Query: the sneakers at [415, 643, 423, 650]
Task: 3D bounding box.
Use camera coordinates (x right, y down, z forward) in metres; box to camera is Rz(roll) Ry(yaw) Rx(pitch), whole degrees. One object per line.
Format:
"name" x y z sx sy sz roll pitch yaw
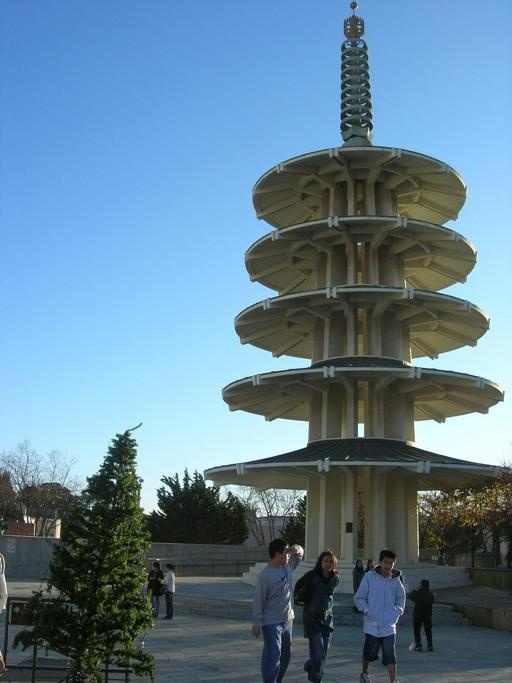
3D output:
"sneakers" 3.009 5.616 16.918 0.158 0.162 0.404 2 -17 5

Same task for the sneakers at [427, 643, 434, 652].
"sneakers" 3.248 5.685 17.017 0.067 0.175 0.133 -8 1 6
